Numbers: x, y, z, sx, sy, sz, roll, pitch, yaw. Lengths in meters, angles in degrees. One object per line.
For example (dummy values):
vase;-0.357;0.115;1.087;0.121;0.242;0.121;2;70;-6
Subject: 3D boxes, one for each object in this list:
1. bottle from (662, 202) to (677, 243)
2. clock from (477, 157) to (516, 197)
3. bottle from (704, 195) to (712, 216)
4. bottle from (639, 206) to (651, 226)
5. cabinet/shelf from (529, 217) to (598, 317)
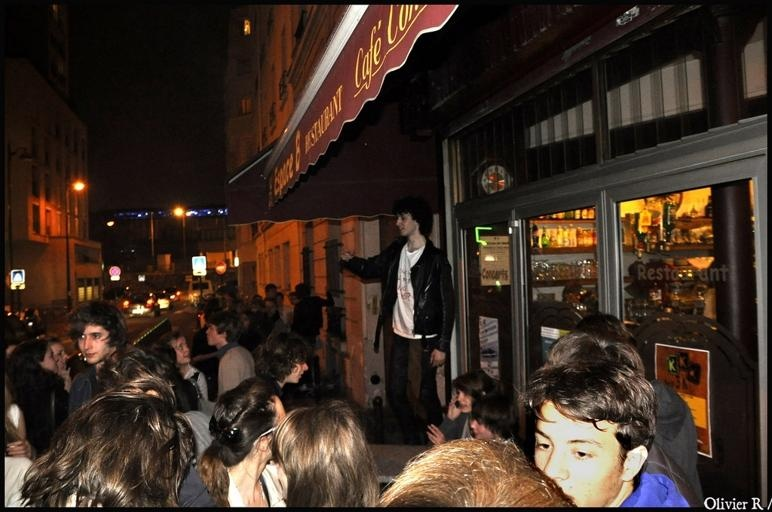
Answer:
bottle;2.399;-0.295;4.763;0.096;0.332;0.101;-1;-4;0
clock;1.290;-0.961;6.631;0.068;0.417;0.666;0;-4;-20
bottle;2.590;-0.405;4.519;0.021;0.150;0.084;0;-4;-10
bottle;2.261;-0.365;4.889;0.023;0.213;0.153;-6;9;-34
cabinet/shelf;1.834;0.089;5.719;0.317;0.924;0.976;-5;-3;-11
